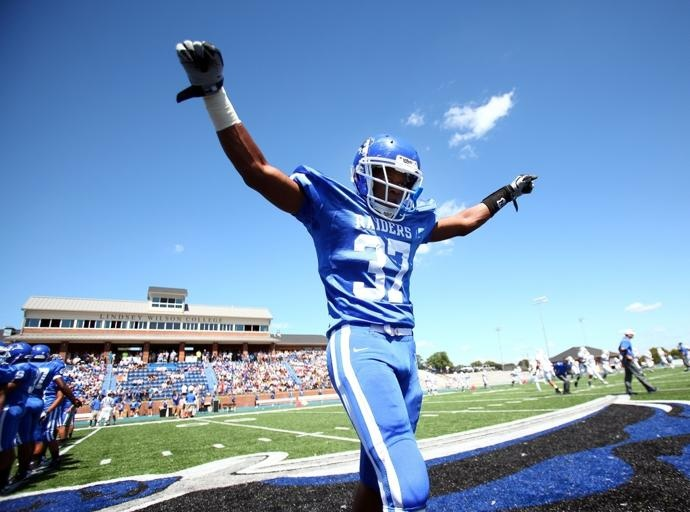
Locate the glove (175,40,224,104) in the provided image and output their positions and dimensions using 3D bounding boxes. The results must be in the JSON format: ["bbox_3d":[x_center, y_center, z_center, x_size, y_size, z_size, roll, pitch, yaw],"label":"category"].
[{"bbox_3d":[-0.995,-1.245,2.326,0.292,0.411,0.285,-1,-19,-18],"label":"glove"}]

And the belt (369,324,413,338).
[{"bbox_3d":[0.361,0.544,2.468,0.406,0.100,0.075,6,-22,-35],"label":"belt"}]
